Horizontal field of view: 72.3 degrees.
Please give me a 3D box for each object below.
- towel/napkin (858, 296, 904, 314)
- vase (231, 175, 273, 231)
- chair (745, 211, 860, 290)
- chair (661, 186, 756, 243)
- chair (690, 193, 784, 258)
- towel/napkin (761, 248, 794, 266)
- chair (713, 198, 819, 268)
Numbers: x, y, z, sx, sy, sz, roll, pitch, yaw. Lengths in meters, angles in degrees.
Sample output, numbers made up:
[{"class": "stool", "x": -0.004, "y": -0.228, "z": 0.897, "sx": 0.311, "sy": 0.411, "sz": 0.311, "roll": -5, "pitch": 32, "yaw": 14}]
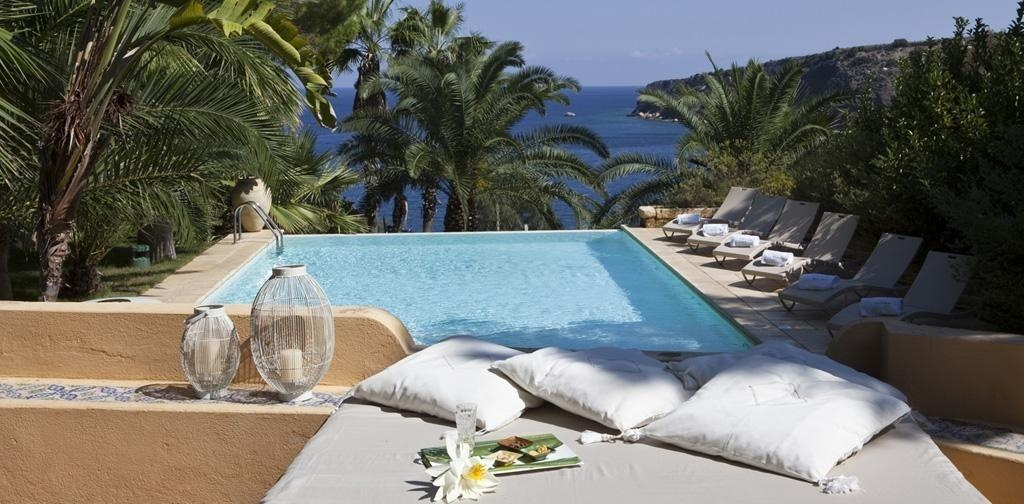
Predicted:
[{"class": "towel/napkin", "x": 5.784, "y": 0.841, "z": 10.932, "sx": 0.387, "sy": 0.118, "sz": 0.361, "roll": 1, "pitch": 7, "yaw": 10}, {"class": "vase", "x": -6.591, "y": -1.189, "z": 17.689, "sx": 0.958, "sy": 1.442, "sz": 0.733, "roll": 0, "pitch": 12, "yaw": -19}, {"class": "chair", "x": 6.083, "y": -0.016, "z": 14.070, "sx": 3.056, "sy": 1.324, "sz": 1.149, "roll": -17, "pitch": 18, "yaw": -32}, {"class": "chair", "x": 5.122, "y": -0.957, "z": 17.482, "sx": 2.294, "sy": 1.029, "sz": 1.206, "roll": -9, "pitch": 12, "yaw": -32}, {"class": "chair", "x": 5.502, "y": -0.723, "z": 16.260, "sx": 2.297, "sy": 0.779, "sz": 1.261, "roll": -26, "pitch": 23, "yaw": -39}, {"class": "towel/napkin", "x": 5.168, "y": 0.121, "z": 13.685, "sx": 0.451, "sy": 0.146, "sz": 0.409, "roll": 5, "pitch": 19, "yaw": 26}, {"class": "chair", "x": 5.271, "y": -0.544, "z": 15.407, "sx": 0.823, "sy": 0.889, "sz": 2.069, "roll": 16, "pitch": 36, "yaw": 39}]
